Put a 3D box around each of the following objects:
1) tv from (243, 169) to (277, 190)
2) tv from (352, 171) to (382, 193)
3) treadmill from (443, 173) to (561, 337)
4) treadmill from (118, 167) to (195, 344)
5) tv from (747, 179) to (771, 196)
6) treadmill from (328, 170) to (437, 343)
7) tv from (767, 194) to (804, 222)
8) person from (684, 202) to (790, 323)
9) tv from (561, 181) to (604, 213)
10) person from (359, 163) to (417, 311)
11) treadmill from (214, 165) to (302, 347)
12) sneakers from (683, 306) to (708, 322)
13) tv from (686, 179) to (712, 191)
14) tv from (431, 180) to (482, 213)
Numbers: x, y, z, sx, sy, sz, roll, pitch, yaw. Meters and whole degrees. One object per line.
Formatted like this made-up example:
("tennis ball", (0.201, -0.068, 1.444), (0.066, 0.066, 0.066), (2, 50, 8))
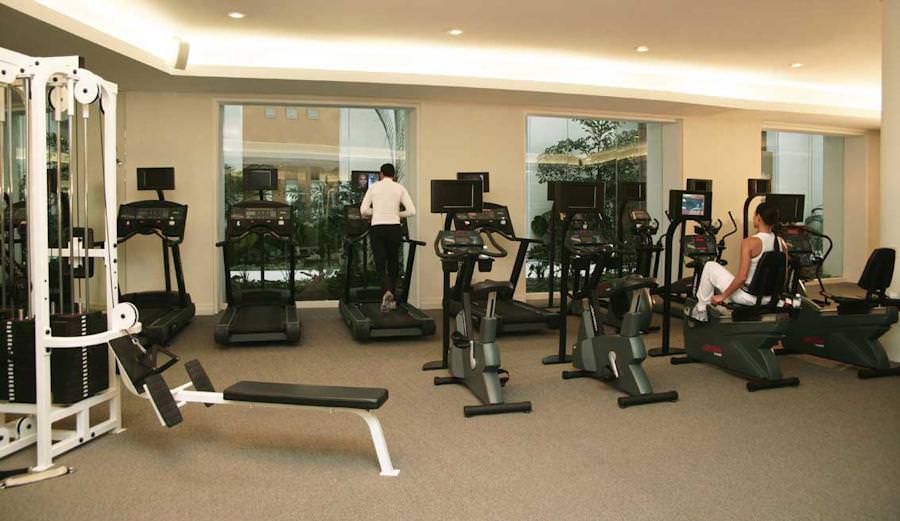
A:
("tv", (-2.680, -1.144, 9.631), (0.579, 0.343, 0.289), (0, -3, -13))
("tv", (-1.259, -1.187, 10.271), (0.500, 0.313, 0.047), (-2, 6, -22))
("treadmill", (0.735, 0.015, 9.539), (1.377, 2.547, 2.205), (1, 2, -14))
("treadmill", (-3.994, -0.205, 9.441), (1.393, 2.883, 1.388), (1, -7, -20))
("tv", (4.833, -1.142, 10.665), (0.433, 0.314, 0.207), (-1, 1, -12))
("treadmill", (-0.933, -0.225, 9.744), (1.324, 2.257, 2.248), (-1, 6, -15))
("tv", (4.831, -0.745, 9.781), (0.577, 0.443, 0.176), (0, -5, 0))
("person", (3.236, 0.062, 7.697), (1.000, 1.341, 0.385), (0, 9, 18))
("tv", (1.527, -0.735, 7.951), (0.657, 0.389, 0.334), (0, 0, -13))
("person", (-0.839, -0.327, 9.573), (0.940, 2.165, 0.959), (0, -3, -4))
("treadmill", (-2.610, -0.137, 9.321), (1.248, 2.216, 1.967), (-2, 9, -14))
("sneakers", (2.865, 0.641, 7.955), (0.105, 0.115, 0.271), (-3, 12, -21))
("tv", (3.714, -1.120, 10.160), (0.430, 0.252, 0.218), (-2, 3, -23))
("tv", (0.086, -0.802, 8.508), (0.807, 0.451, 0.403), (0, 4, -7))
